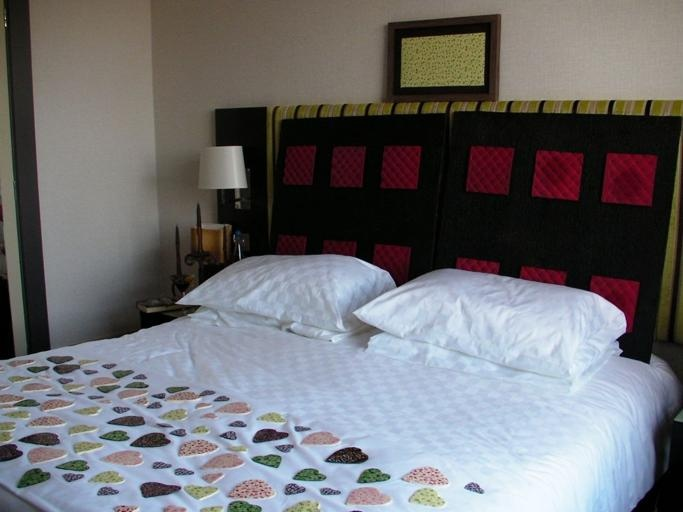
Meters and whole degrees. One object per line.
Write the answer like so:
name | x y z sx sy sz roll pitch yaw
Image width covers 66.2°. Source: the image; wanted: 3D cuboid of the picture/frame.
picture/frame | 0.598 -1.106 2.949 0.598 0.418 0.059 5 12 31

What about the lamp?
lamp | -0.794 -0.588 3.532 0.359 0.291 0.366 -1 9 1
